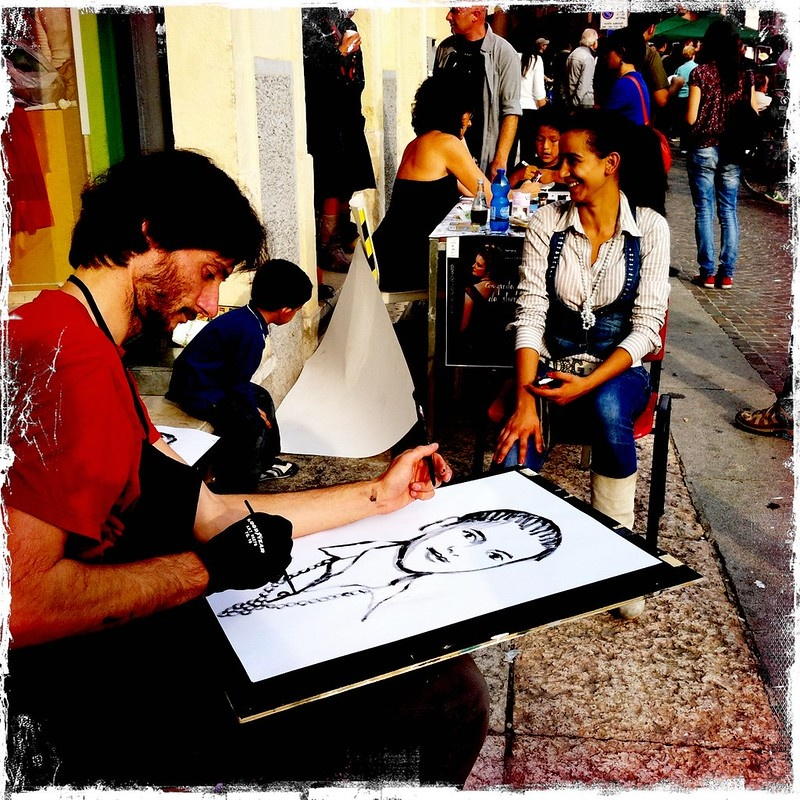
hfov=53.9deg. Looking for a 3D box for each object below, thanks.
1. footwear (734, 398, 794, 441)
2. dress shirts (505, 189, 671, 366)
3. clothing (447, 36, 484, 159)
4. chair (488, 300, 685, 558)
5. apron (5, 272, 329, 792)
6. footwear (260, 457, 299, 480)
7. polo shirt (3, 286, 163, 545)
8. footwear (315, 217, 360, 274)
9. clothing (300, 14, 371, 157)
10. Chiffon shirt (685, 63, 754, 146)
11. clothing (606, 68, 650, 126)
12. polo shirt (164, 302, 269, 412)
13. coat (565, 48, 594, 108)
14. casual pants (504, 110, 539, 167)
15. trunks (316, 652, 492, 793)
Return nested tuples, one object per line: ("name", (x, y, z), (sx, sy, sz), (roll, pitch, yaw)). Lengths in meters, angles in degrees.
("footwear", (2.019, 0.092, 4.323), (0.337, 0.213, 0.135), (16, 26, 35))
("dress shirts", (0.732, -0.458, 3.041), (0.666, 0.815, 0.441), (9, 32, 19))
("clothing", (0.525, -2.459, 6.192), (0.351, 1.370, 0.360), (0, -6, 2))
("chair", (0.798, 0.068, 2.996), (0.473, 0.779, 0.513), (2, 19, 20))
("apron", (-0.341, 0.128, 1.734), (0.852, 0.958, 0.695), (-9, 19, -19))
("footwear", (-0.597, 0.352, 3.969), (0.197, 0.083, 0.069), (-3, 12, -45))
("polo shirt", (-0.555, 0.032, 1.369), (0.241, 0.346, 0.432), (0, 34, -27))
("footwear", (-0.582, -1.372, 7.041), (0.225, 0.526, 0.536), (-6, 12, -35))
("clothing", (-0.585, -2.579, 6.392), (0.384, 1.135, 0.845), (5, 20, 21))
("Chiffon shirt", (2.828, -2.602, 6.839), (0.593, 0.730, 0.400), (-3, 9, 13))
("clothing", (2.006, -2.577, 6.764), (0.291, 0.420, 0.525), (13, 27, 44))
("polo shirt", (-0.806, -0.171, 3.525), (0.355, 0.527, 0.415), (7, 14, -36))
("coat", (2.379, -4.279, 10.403), (0.315, 0.718, 0.513), (-10, 32, -5))
("casual pants", (1.495, -3.282, 9.978), (0.341, 0.635, 0.346), (35, 22, 5))
("trunks", (0.007, 0.588, 1.652), (0.275, 0.335, 0.356), (8, 26, -5))
